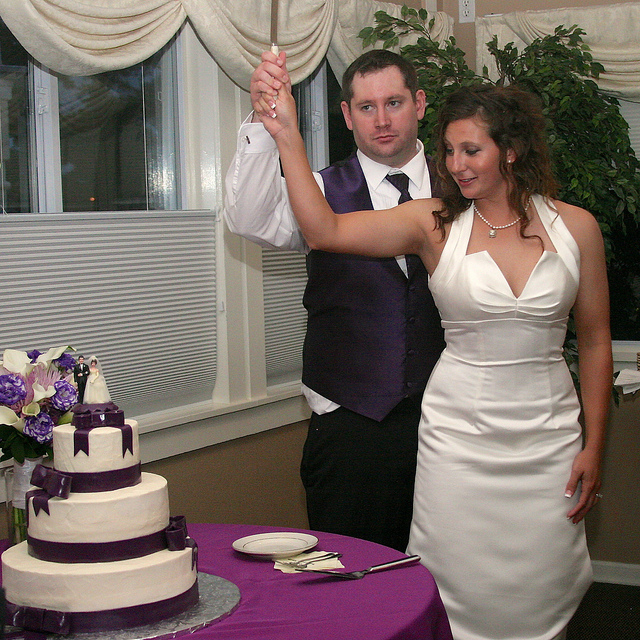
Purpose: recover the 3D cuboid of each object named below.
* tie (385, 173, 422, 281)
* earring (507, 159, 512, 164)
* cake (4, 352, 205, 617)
[{"bbox_3d":[0.284,-0.323,2.044,0.129,0.324,0.042,2,-16,-4],"label":"tie"},{"bbox_3d":[0.505,-0.424,1.697,0.014,0.011,0.003,-4,12,-4],"label":"earring"},{"bbox_3d":[-0.410,0.312,1.332,0.481,0.410,0.426,-1,-1,-9],"label":"cake"}]
